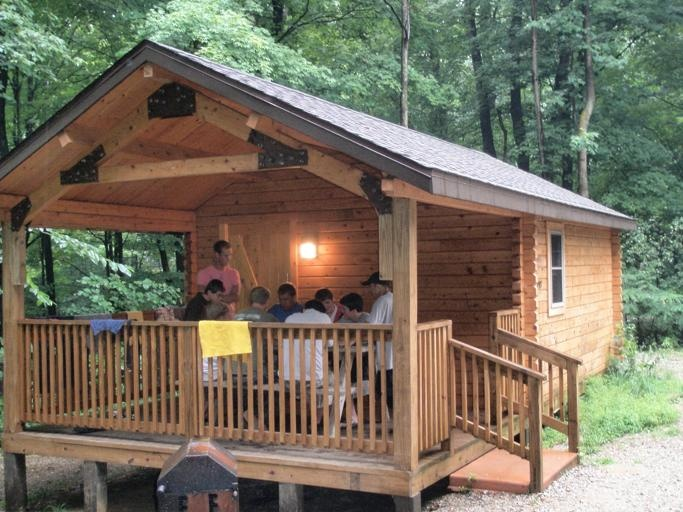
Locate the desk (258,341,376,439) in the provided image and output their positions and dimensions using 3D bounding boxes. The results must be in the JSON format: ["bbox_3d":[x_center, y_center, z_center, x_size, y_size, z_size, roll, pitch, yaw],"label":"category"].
[{"bbox_3d":[-0.302,1.938,13.054,1.556,1.573,1.581,3,-10,-18],"label":"desk"}]

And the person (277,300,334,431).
[{"bbox_3d":[-0.537,1.653,13.027,1.006,1.942,0.849,-1,-4,8],"label":"person"}]

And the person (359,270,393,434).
[{"bbox_3d":[0.639,1.564,14.065,0.607,2.246,0.531,5,7,17],"label":"person"}]

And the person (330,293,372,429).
[{"bbox_3d":[0.114,1.693,13.737,0.653,2.091,0.571,3,7,20],"label":"person"}]

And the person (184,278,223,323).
[{"bbox_3d":[-2.228,0.757,13.864,0.469,0.770,0.509,11,8,33],"label":"person"}]

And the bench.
[{"bbox_3d":[-1.127,2.292,12.829,1.916,1.066,0.860,-2,-2,27],"label":"bench"}]

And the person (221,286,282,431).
[{"bbox_3d":[-1.400,1.636,13.370,0.814,2.138,0.854,3,5,-11],"label":"person"}]

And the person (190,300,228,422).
[{"bbox_3d":[-2.228,0.863,13.992,0.402,0.901,0.524,16,2,5],"label":"person"}]
